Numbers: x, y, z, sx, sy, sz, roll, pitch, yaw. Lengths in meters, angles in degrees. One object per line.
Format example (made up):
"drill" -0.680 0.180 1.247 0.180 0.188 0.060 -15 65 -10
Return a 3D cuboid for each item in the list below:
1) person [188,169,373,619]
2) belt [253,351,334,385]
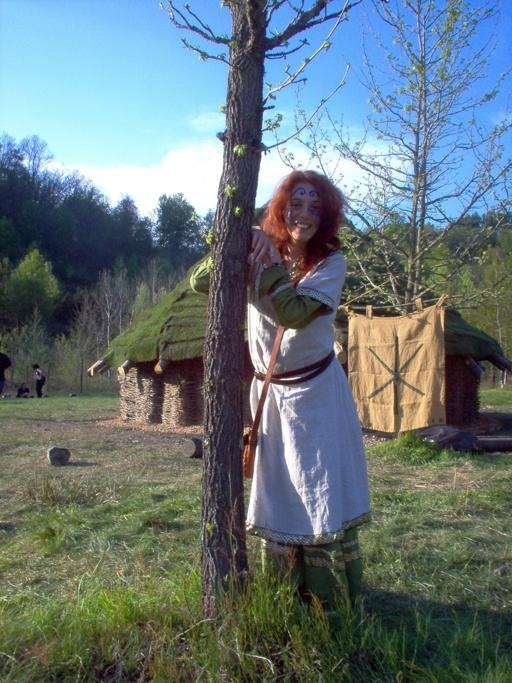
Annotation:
"person" 0.185 0.171 2.281 0.542 1.878 0.563 -2 -3 10
"belt" 0.200 0.117 2.307 0.282 0.136 0.148 -1 -3 0
